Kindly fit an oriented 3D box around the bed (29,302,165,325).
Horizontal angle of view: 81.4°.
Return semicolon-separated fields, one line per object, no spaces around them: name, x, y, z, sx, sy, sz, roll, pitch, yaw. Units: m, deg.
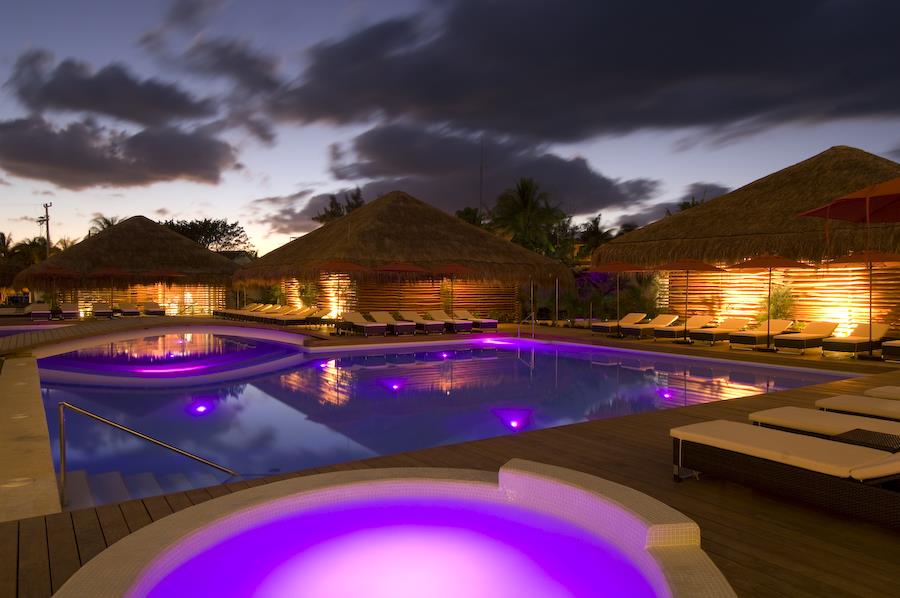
bed;-17.848;0.603;25.713;5.253;0.771;5.982;0;2;9

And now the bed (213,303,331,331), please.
bed;-7.798;0.804;23.754;2.556;0.768;8.438;-2;2;-39
